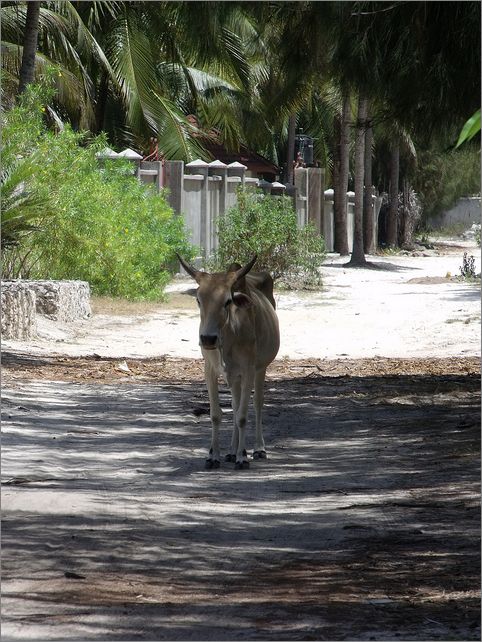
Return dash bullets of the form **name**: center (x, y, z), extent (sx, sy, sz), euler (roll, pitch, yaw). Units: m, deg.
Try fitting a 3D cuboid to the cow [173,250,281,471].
- **cow**: center (-0.046, 0.302, 8.410), extent (0.432, 1.406, 1.679), euler (1, -2, 11)
